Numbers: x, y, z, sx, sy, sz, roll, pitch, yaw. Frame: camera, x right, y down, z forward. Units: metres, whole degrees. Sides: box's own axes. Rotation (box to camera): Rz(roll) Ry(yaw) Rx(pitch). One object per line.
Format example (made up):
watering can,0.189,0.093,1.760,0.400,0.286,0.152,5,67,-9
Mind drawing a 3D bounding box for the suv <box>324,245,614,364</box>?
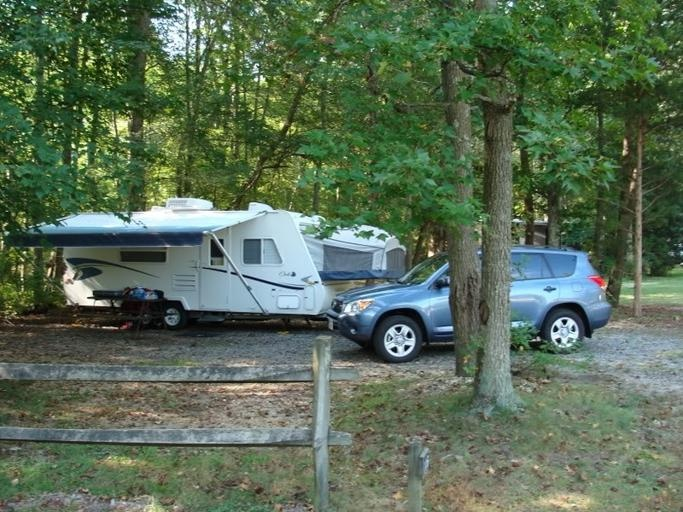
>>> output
suv,2.474,0.898,13.933,5.053,2.149,1.404,0,3,9
